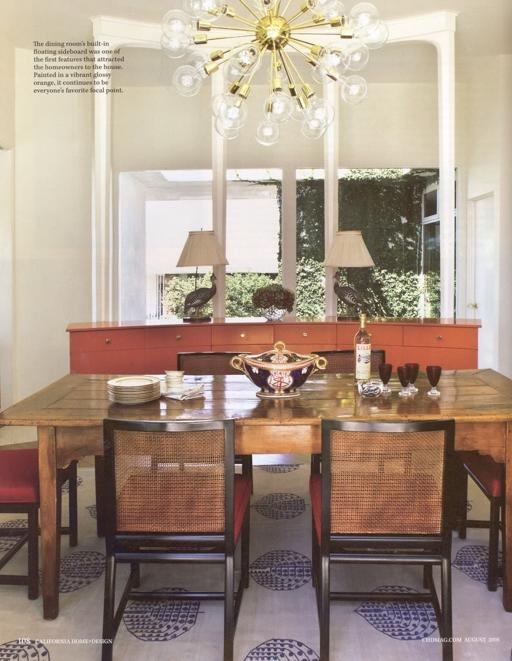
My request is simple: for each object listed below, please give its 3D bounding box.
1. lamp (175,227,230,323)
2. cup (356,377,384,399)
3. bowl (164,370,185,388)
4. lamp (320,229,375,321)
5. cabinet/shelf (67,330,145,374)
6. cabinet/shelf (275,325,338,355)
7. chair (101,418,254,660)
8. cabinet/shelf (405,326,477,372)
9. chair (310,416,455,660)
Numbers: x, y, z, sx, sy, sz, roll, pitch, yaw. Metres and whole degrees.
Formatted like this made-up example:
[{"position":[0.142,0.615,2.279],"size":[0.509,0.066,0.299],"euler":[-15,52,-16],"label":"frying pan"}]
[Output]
[{"position":[-0.430,-0.434,4.899],"size":[0.372,0.705,1.090],"euler":[-2,7,-5],"label":"lamp"},{"position":[0.438,0.223,2.399],"size":[0.074,0.040,0.093],"euler":[1,4,9],"label":"cup"},{"position":[-0.330,0.197,2.489],"size":[0.067,0.048,0.067],"euler":[1,-2,0],"label":"bowl"},{"position":[0.729,-0.442,4.988],"size":[0.362,0.729,1.106],"euler":[-1,7,6],"label":"lamp"},{"position":[-1.009,0.136,4.143],"size":[0.525,0.350,0.289],"euler":[-1,7,-13],"label":"cabinet/shelf"},{"position":[0.354,0.037,4.434],"size":[0.407,0.258,0.220],"euler":[0,-1,-2],"label":"cabinet/shelf"},{"position":[-0.263,0.627,2.115],"size":[0.445,0.807,0.603],"euler":[-1,8,3],"label":"chair"},{"position":[1.247,0.111,4.216],"size":[0.465,0.288,0.126],"euler":[-1,8,7],"label":"cabinet/shelf"},{"position":[0.422,0.630,2.061],"size":[0.474,0.803,0.492],"euler":[-1,8,4],"label":"chair"}]
